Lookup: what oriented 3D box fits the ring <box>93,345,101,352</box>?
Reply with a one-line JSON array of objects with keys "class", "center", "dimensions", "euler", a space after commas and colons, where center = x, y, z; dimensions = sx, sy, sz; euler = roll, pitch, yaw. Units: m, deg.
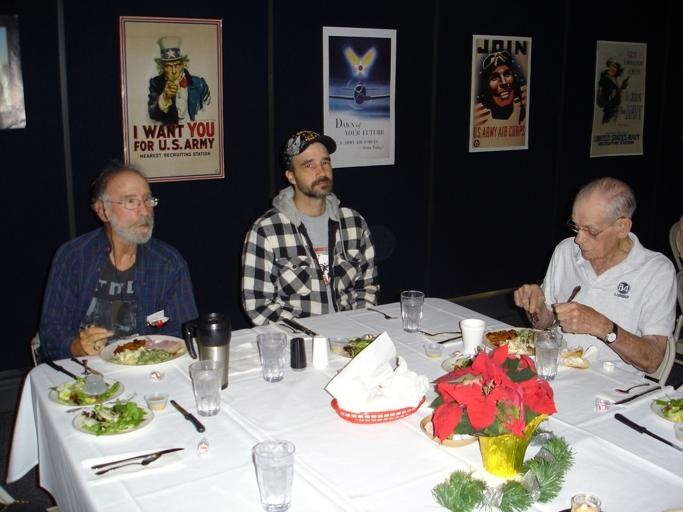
[{"class": "ring", "center": [-1.042, 0.394, 2.080], "dimensions": [0.028, 0.027, 0.007], "euler": [-11, 54, 6]}]

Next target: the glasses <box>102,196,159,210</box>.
[{"class": "glasses", "center": [-1.109, -0.279, 2.566], "dimensions": [0.263, 0.064, 0.131], "euler": [-8, 12, -26]}]

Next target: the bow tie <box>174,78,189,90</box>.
[{"class": "bow tie", "center": [-1.197, -1.304, 3.691], "dimensions": [0.076, 0.072, 0.025], "euler": [36, -4, -12]}]

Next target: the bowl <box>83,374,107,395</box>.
[{"class": "bowl", "center": [-0.897, 0.465, 1.782], "dimensions": [0.062, 0.044, 0.063], "euler": [4, 10, -1]}]

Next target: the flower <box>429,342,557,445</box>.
[{"class": "flower", "center": [0.413, 0.420, 1.341], "dimensions": [0.317, 0.331, 0.248], "euler": [0, 11, 11]}]

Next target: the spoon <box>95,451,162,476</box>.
[{"class": "spoon", "center": [-0.611, 0.600, 1.430], "dimensions": [0.190, 0.022, 0.057], "euler": [-3, 14, -24]}]

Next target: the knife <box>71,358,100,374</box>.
[{"class": "knife", "center": [-1.044, 0.436, 1.989], "dimensions": [0.059, 0.011, 0.219], "euler": [-14, 17, -30]}]

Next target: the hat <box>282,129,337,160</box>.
[{"class": "hat", "center": [-0.202, -0.669, 3.069], "dimensions": [0.271, 0.148, 0.203], "euler": [-22, 13, 12]}]

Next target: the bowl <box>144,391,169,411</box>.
[{"class": "bowl", "center": [-0.657, 0.519, 1.739], "dimensions": [0.051, 0.036, 0.061], "euler": [0, -7, -4]}]

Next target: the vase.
[{"class": "vase", "center": [0.454, 0.486, 1.310], "dimensions": [0.189, 0.136, 0.184], "euler": [-3, 10, 20]}]
